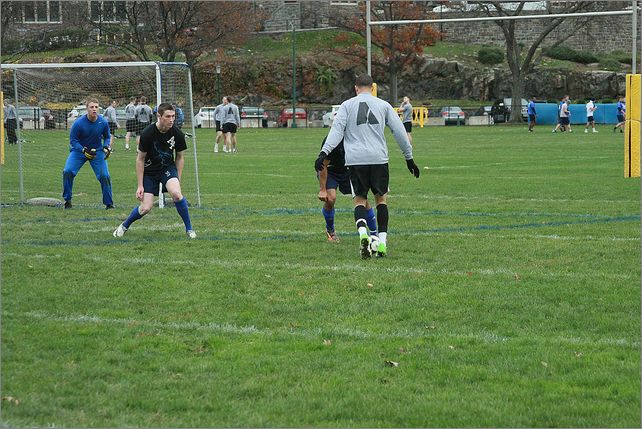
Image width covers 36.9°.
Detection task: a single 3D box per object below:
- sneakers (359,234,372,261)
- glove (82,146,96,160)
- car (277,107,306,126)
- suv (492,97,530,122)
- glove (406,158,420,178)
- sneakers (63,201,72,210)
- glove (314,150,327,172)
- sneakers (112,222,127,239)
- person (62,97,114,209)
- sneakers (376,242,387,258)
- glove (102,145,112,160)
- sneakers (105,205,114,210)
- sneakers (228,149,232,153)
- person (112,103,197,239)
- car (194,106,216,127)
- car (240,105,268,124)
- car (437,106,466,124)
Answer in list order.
[{"bbox_3d":[0.876,0.645,18.819,0.172,0.473,0.218,-5,6,2],"label":"sneakers"},{"bbox_3d":[-5.546,-1.480,23.029,0.299,0.118,0.250,23,61,8],"label":"glove"},{"bbox_3d":[-1.938,-6.518,64.268,1.968,1.024,3.815,-1,15,-3],"label":"car"},{"bbox_3d":[11.342,-6.725,60.930,1.701,1.479,2.781,-1,0,-19],"label":"suv"},{"bbox_3d":[1.858,-0.901,19.027,0.157,0.481,0.141,-33,43,1],"label":"glove"},{"bbox_3d":[-6.107,-0.212,23.199,0.189,0.238,0.193,-1,0,25],"label":"sneakers"},{"bbox_3d":[0.001,-1.039,18.915,0.214,0.421,0.347,-1,15,-1],"label":"glove"},{"bbox_3d":[-4.249,0.359,20.253,0.196,0.159,0.436,8,53,36],"label":"sneakers"},{"bbox_3d":[-5.662,-1.495,23.122,1.192,2.651,1.181,-4,15,-12],"label":"person"},{"bbox_3d":[1.204,0.704,19.020,0.161,0.253,0.102,1,-6,-1],"label":"sneakers"},{"bbox_3d":[-5.190,-1.539,23.481,0.274,0.388,0.133,40,44,24],"label":"glove"},{"bbox_3d":[-5.078,-0.170,23.015,0.143,0.096,0.078,-9,13,-9],"label":"sneakers"},{"bbox_3d":[-3.333,-2.348,35.273,0.084,0.133,0.134,-5,7,-42],"label":"sneakers"},{"bbox_3d":[-3.437,-0.940,20.178,1.459,2.830,0.876,-3,15,-9],"label":"person"},{"bbox_3d":[-7.361,-5.940,60.890,1.616,1.343,2.809,0,15,-8],"label":"car"},{"bbox_3d":[-4.434,-6.786,64.354,1.228,1.038,2.036,-2,16,-10],"label":"car"},{"bbox_3d":[8.417,-6.378,61.467,1.545,1.043,1.354,5,16,20],"label":"car"}]
